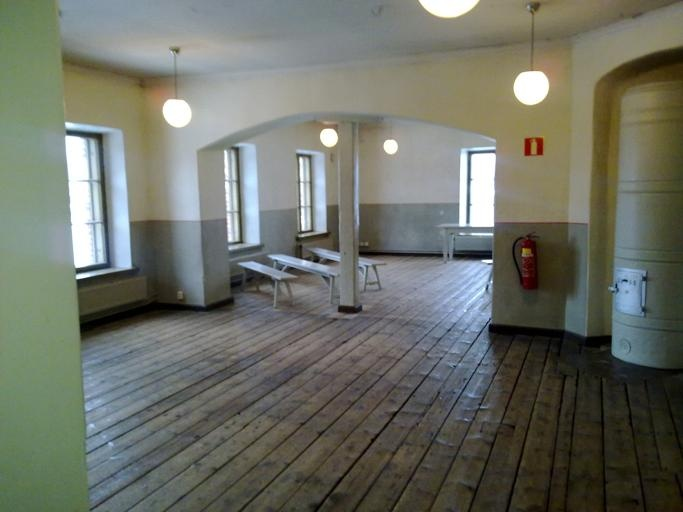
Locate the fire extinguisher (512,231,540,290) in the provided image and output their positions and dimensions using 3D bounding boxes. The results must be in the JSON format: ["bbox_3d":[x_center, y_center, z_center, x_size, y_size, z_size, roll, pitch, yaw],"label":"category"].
[{"bbox_3d":[2.010,0.078,5.638,0.279,0.621,0.200,2,11,18],"label":"fire extinguisher"}]

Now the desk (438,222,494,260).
[{"bbox_3d":[2.681,-0.465,11.097,0.862,0.596,1.146,0,5,7],"label":"desk"}]
